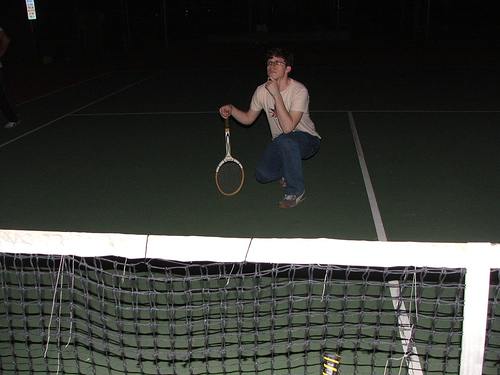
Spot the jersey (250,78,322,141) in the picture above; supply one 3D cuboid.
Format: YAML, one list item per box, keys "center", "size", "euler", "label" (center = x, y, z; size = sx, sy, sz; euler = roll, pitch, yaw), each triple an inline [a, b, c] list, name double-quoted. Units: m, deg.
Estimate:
- center: [0.326, -0.749, 4.092]
  size: [0.555, 0.481, 0.694]
  euler: [-3, -69, 18]
  label: "jersey"

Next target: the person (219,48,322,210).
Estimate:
- center: [0.210, -0.610, 4.070]
  size: [0.838, 0.923, 1.415]
  euler: [-1, -72, 11]
  label: "person"
